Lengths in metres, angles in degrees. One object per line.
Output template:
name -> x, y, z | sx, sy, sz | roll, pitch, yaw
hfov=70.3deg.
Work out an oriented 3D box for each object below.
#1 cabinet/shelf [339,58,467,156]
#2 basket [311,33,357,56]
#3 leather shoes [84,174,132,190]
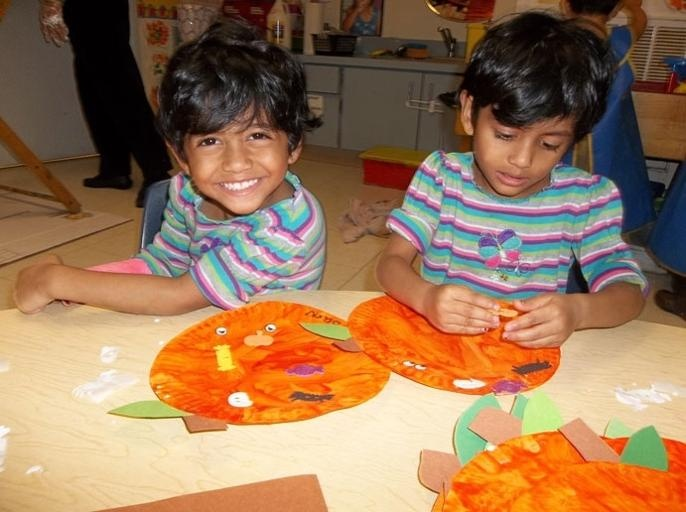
cabinet/shelf -> 0.539, -1.362, 4.113 | 0.651, 0.405, 0.377 | 30, 18, 35
basket -> -0.071, -1.802, 4.161 | 0.334, 0.124, 0.200 | 2, 36, 3
leather shoes -> -1.595, -0.493, 3.356 | 0.372, 0.118, 0.110 | 4, 22, -7
